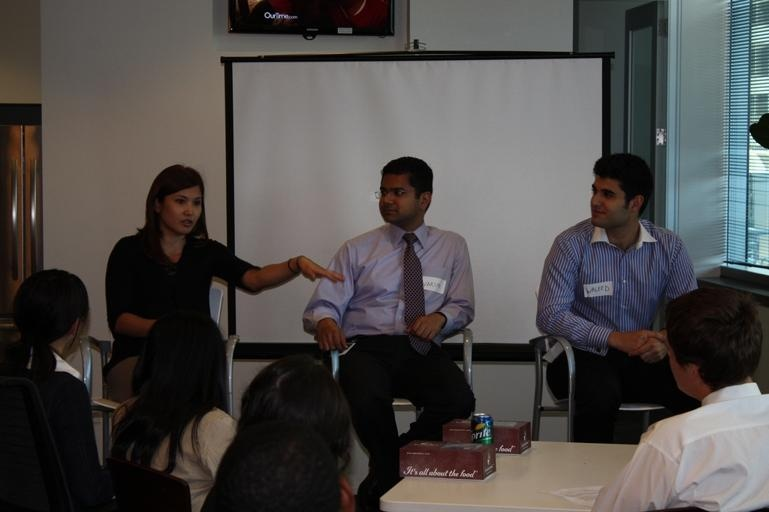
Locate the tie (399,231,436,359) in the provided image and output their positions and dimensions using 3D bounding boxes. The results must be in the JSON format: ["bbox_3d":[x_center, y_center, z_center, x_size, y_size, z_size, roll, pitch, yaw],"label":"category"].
[{"bbox_3d":[0.160,0.214,3.447,0.115,0.655,0.033,-1,-13,-4],"label":"tie"}]

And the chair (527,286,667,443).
[{"bbox_3d":[1.127,0.588,3.274,0.531,0.939,0.650,2,-16,-9],"label":"chair"}]
